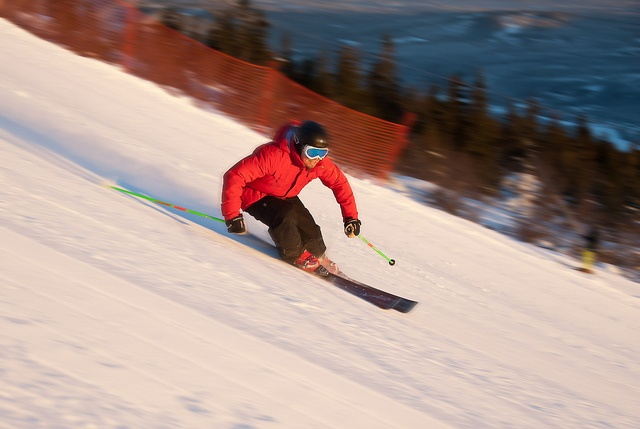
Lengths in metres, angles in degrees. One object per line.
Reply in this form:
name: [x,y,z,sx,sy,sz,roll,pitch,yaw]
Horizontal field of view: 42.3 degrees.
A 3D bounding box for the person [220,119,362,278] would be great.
person: [-0.269,-0.213,9.197,1.671,1.754,0.860,15,26,-7]
